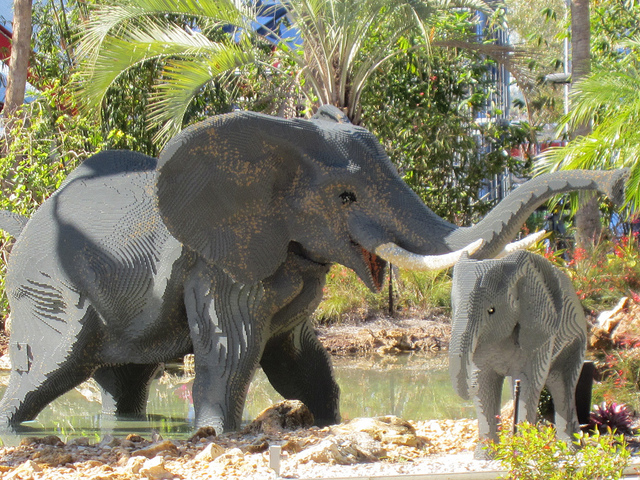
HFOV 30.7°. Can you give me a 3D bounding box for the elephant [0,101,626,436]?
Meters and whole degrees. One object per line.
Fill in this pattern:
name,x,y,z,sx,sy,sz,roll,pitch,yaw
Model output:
elephant,-0.312,0.303,11.615,6.105,3.418,2.759,-2,3,19
